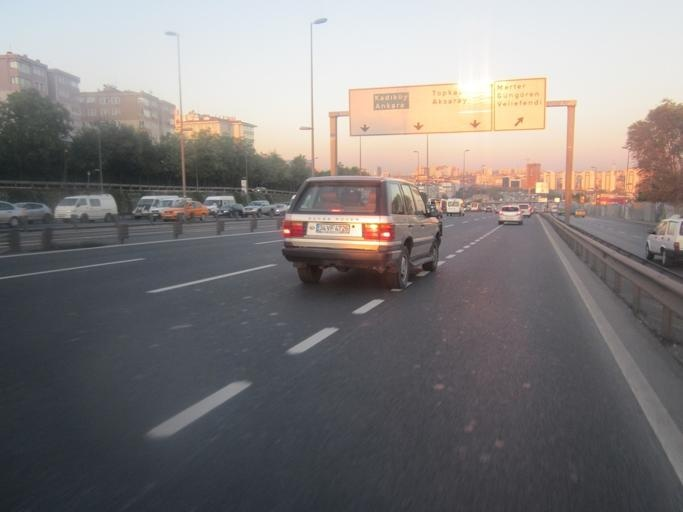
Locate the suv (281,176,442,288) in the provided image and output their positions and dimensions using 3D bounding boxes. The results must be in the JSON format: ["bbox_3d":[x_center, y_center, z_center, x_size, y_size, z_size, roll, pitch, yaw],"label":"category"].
[{"bbox_3d":[0.675,-0.693,10.743,1.747,1.662,3.337,2,10,23],"label":"suv"}]

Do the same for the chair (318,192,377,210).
[{"bbox_3d":[0.139,-1.040,9.634,1.152,0.374,0.317,4,6,28],"label":"chair"}]
